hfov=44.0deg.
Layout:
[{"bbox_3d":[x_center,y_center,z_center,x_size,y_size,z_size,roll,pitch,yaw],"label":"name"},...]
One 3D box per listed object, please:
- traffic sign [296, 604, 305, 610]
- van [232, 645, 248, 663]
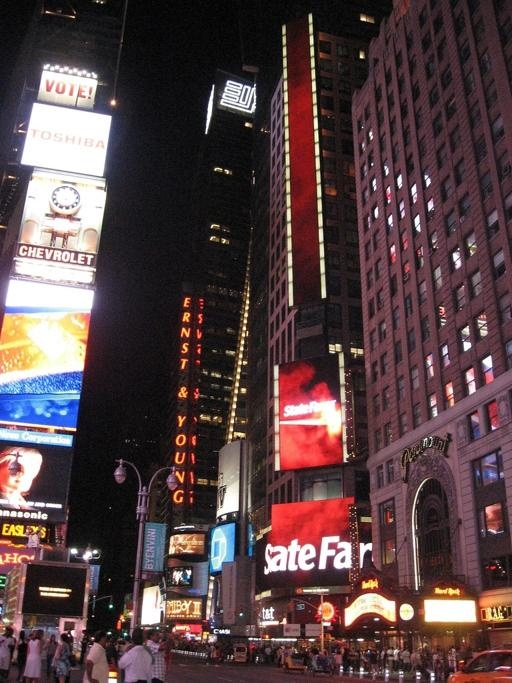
[{"bbox_3d":[5.059,30.250,72.043,1.043,0.793,0.195,-15,-27,37],"label":"traffic sign"},{"bbox_3d":[-1.478,31.286,63.538,1.362,1.692,2.025,1,-6,-3],"label":"van"}]
